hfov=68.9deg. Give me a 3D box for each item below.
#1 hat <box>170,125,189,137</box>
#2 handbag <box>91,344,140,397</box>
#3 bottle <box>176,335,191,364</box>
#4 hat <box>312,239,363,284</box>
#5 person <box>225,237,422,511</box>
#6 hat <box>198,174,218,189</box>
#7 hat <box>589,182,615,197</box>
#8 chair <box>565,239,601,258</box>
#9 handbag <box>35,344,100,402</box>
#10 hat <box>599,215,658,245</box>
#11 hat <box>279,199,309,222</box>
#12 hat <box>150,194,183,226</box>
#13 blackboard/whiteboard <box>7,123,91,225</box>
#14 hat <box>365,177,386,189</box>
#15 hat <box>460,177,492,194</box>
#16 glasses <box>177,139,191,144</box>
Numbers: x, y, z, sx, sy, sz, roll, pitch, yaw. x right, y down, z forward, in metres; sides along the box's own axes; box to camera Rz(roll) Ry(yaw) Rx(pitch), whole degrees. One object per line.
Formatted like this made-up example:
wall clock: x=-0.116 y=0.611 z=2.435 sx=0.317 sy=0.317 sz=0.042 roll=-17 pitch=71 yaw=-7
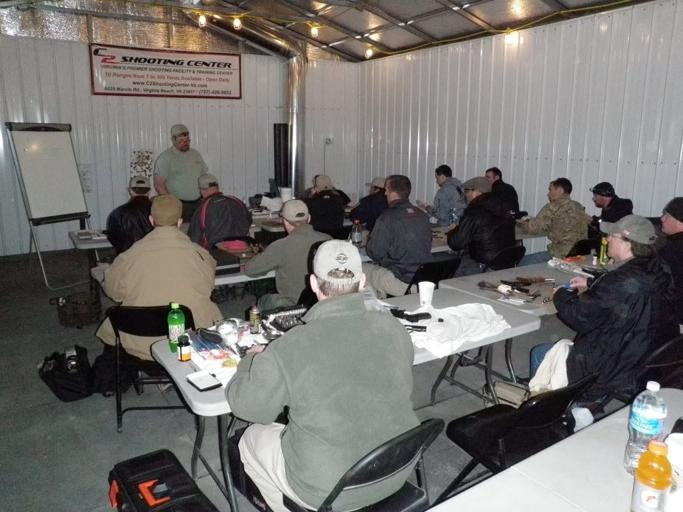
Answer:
hat: x=-2.358 y=-1.806 z=7.213 sx=0.212 sy=0.166 sz=0.220 roll=-8 pitch=16 yaw=-18
handbag: x=-1.756 y=0.932 z=3.889 sx=0.404 sy=0.484 sz=0.200 roll=10 pitch=-3 yaw=-39
bottle: x=-0.898 y=0.508 z=2.829 sx=0.080 sy=0.123 sz=0.184 roll=-9 pitch=17 yaw=-19
hat: x=-0.012 y=0.008 z=2.308 sx=0.234 sy=0.171 sz=0.348 roll=1 pitch=6 yaw=-16
person: x=-0.089 y=0.607 z=2.256 sx=0.860 sy=1.256 sz=0.556 roll=-5 pitch=17 yaw=-7
hat: x=-1.502 y=-0.824 z=5.586 sx=0.219 sy=0.150 sz=0.314 roll=-6 pitch=8 yaw=-15
hat: x=3.163 y=-0.787 z=6.023 sx=0.183 sy=0.138 sz=0.242 roll=-5 pitch=23 yaw=-11
chair: x=2.672 y=-0.093 z=5.486 sx=0.308 sy=0.332 sz=0.269 roll=4 pitch=7 yaw=29
handbag: x=-2.267 y=0.951 z=4.118 sx=0.448 sy=0.404 sz=0.364 roll=3 pitch=-18 yaw=-27
hat: x=1.851 y=-0.171 z=3.231 sx=0.198 sy=0.144 sz=0.291 roll=-11 pitch=18 yaw=-28
hat: x=-0.374 y=-0.369 z=4.128 sx=0.166 sy=0.119 sz=0.222 roll=-8 pitch=19 yaw=-22
hat: x=-1.231 y=-0.325 z=3.544 sx=0.196 sy=0.219 sz=0.228 roll=0 pitch=6 yaw=-19
blackboard/whiteboard: x=-3.977 y=-1.126 z=6.776 sx=0.833 sy=1.332 sz=0.591 roll=-18 pitch=22 yaw=-40
hat: x=0.458 y=-0.994 z=6.922 sx=0.251 sy=0.126 sz=0.349 roll=-8 pitch=21 yaw=-30
hat: x=1.497 y=-0.776 z=5.549 sx=0.204 sy=0.151 sz=0.283 roll=-11 pitch=25 yaw=-35
glasses: x=-2.304 y=-1.654 z=7.232 sx=0.105 sy=0.048 sz=0.134 roll=-4 pitch=7 yaw=-22
